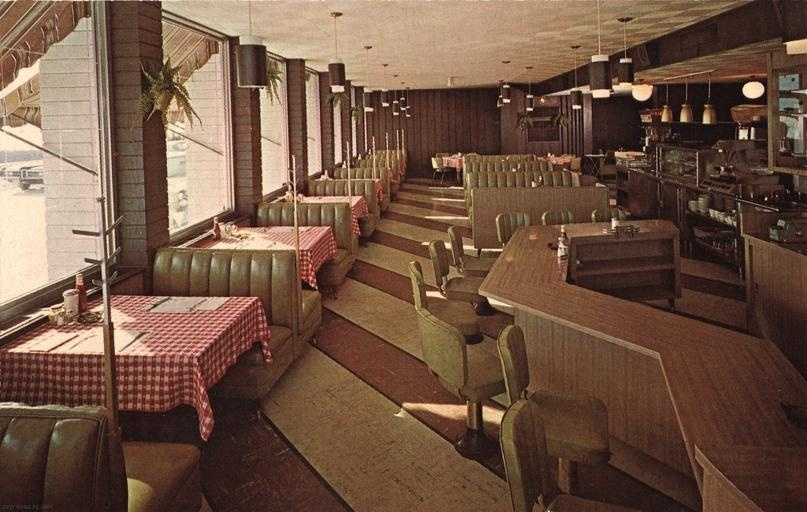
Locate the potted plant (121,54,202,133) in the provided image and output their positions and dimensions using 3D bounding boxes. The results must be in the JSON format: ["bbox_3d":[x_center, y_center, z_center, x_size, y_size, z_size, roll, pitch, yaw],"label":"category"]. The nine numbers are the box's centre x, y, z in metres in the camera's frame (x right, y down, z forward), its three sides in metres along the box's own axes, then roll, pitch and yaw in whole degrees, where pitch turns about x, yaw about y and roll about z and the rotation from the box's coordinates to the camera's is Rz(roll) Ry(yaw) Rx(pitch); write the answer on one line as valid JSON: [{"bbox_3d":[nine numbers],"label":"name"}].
[{"bbox_3d":[-2.590,-1.700,6.307,0.921,0.775,0.741,-7,13,-22],"label":"potted plant"}]
